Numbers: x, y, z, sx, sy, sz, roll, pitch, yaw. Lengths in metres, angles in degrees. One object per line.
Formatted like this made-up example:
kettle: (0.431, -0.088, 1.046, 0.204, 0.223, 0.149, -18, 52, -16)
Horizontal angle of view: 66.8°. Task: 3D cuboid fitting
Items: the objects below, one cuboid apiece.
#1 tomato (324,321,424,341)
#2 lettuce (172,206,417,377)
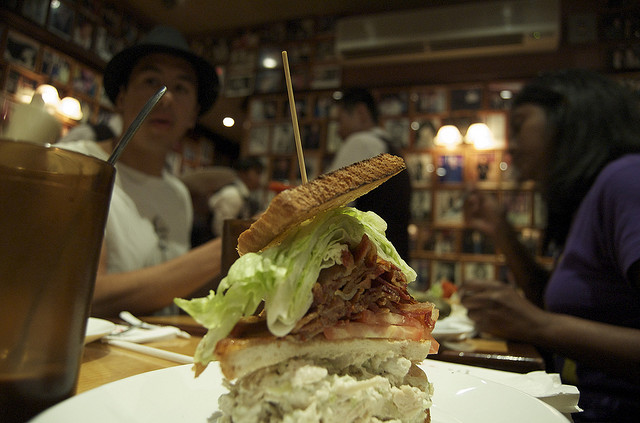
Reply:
tomato: (0.149, 0.317, 1.338, 0.204, 0.062, 0.147, 2, -3, -21)
lettuce: (-0.084, 0.157, 1.394, 0.524, 0.231, 0.516, -23, -7, -9)
